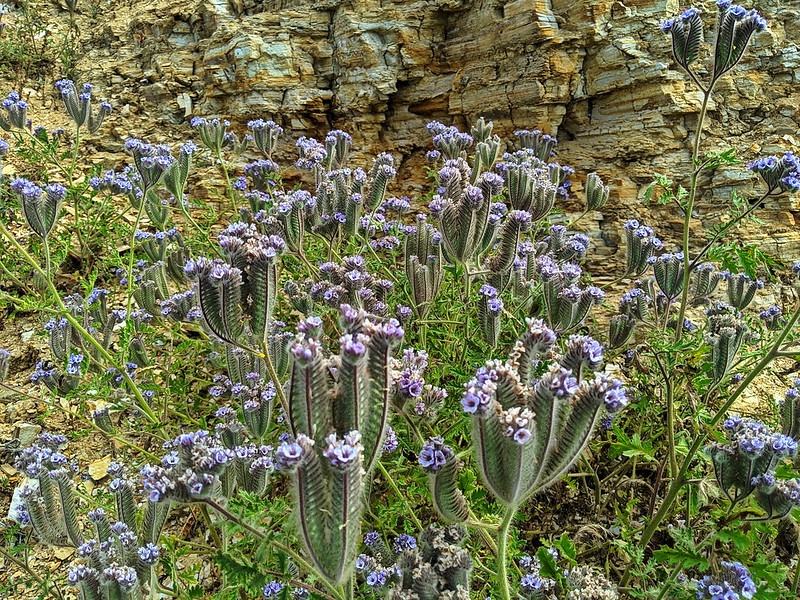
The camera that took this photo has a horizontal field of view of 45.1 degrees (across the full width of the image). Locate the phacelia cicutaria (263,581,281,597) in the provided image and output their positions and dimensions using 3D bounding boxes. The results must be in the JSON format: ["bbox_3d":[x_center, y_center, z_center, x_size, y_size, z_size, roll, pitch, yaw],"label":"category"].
[{"bbox_3d":[-1.155,2.623,8.719,0.197,0.102,0.141,-5,25,-14],"label":"phacelia cicutaria"}]

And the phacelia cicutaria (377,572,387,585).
[{"bbox_3d":[-0.165,2.533,8.736,0.095,0.093,0.043,6,-7,-21],"label":"phacelia cicutaria"}]

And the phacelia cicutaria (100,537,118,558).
[{"bbox_3d":[-2.686,2.299,8.854,0.145,0.134,0.141,-10,27,-23],"label":"phacelia cicutaria"}]

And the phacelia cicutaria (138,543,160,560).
[{"bbox_3d":[-2.317,2.326,8.820,0.155,0.155,0.141,-7,-2,44],"label":"phacelia cicutaria"}]

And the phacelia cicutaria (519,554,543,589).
[{"bbox_3d":[1.211,2.519,8.859,0.205,0.215,0.225,3,25,4],"label":"phacelia cicutaria"}]

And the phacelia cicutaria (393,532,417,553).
[{"bbox_3d":[0.040,2.254,8.910,0.179,0.176,0.127,-6,-28,15],"label":"phacelia cicutaria"}]

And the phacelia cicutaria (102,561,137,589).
[{"bbox_3d":[-2.533,2.493,8.665,0.217,0.152,0.251,-28,-25,16],"label":"phacelia cicutaria"}]

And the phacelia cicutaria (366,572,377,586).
[{"bbox_3d":[-0.268,2.544,8.728,0.108,0.106,0.050,-8,-16,20],"label":"phacelia cicutaria"}]
